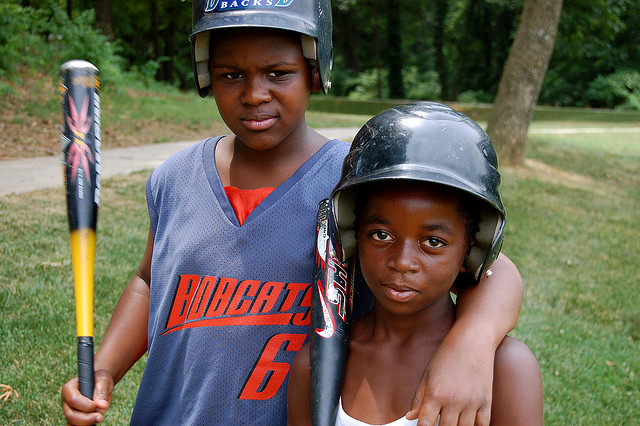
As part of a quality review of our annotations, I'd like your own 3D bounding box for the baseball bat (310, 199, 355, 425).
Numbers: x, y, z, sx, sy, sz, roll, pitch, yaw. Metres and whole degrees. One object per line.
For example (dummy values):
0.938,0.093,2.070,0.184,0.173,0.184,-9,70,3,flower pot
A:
0.046,0.542,3.392,0.157,1.219,0.139,-2,-11,13,baseball bat
